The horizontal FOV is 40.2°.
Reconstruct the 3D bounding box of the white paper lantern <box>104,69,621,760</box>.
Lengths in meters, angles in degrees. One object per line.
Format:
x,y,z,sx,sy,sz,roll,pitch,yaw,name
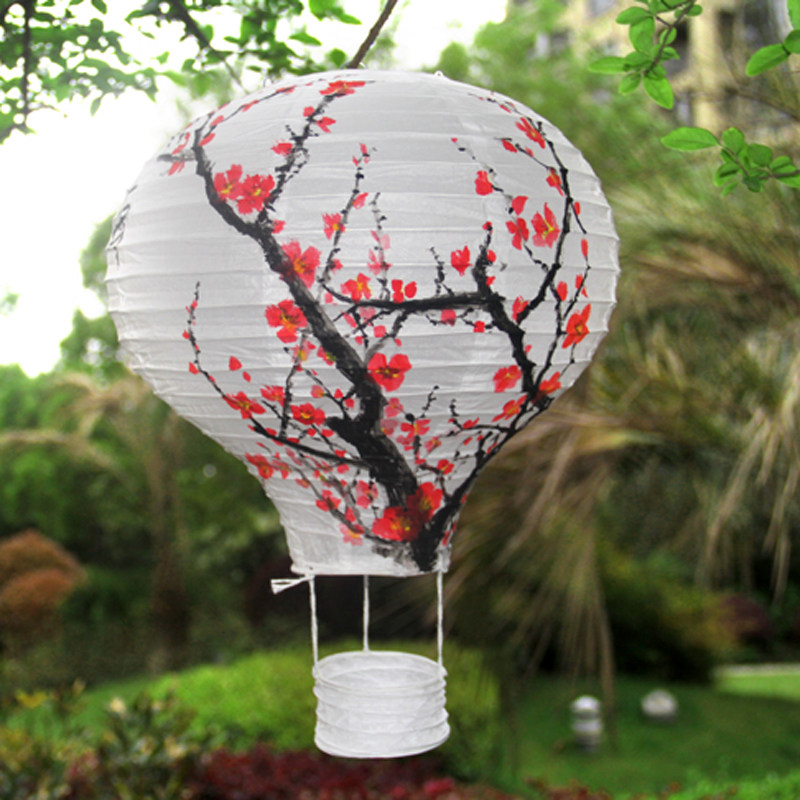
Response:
-0.047,0.016,1.498,0.521,0.953,0.455,-12,-14,39,white paper lantern
